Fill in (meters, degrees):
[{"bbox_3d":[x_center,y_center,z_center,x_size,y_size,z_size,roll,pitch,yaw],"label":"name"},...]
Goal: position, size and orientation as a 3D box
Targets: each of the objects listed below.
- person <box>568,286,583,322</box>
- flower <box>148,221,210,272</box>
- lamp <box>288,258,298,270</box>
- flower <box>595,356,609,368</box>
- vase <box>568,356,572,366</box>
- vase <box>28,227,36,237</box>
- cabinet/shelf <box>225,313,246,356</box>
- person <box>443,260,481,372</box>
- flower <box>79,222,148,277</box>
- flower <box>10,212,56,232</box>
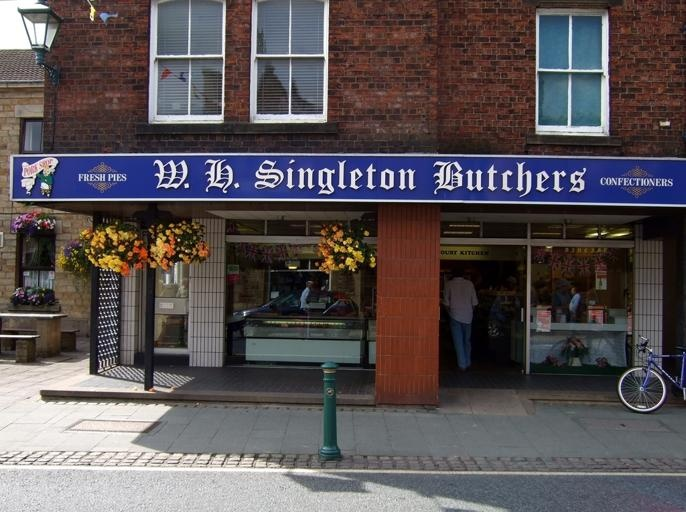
[{"bbox_3d":[4.813,1.015,16.088,0.299,0.707,0.192,3,14,7],"label":"person"},{"bbox_3d":[-2.887,-0.142,14.130,1.054,0.543,0.950,-15,-6,-22],"label":"flower"},{"bbox_3d":[-1.061,0.170,16.203,0.263,0.226,0.131,2,5,4],"label":"lamp"},{"bbox_3d":[5.307,2.204,15.923,0.282,0.174,0.197,0,-6,6],"label":"flower"},{"bbox_3d":[4.667,2.199,15.951,0.091,0.157,0.065,5,14,15],"label":"vase"},{"bbox_3d":[-8.571,-0.677,21.307,0.242,0.291,0.345,-8,16,-31],"label":"vase"},{"bbox_3d":[-2.264,1.681,16.403,0.089,0.809,0.326,8,-15,6],"label":"cabinet/shelf"},{"bbox_3d":[2.451,1.491,16.319,0.659,1.960,0.822,1,14,0],"label":"person"},{"bbox_3d":[-4.016,-0.024,13.834,0.791,0.502,0.701,7,5,-26],"label":"flower"},{"bbox_3d":[-8.539,-0.916,21.279,0.810,0.445,0.715,1,2,-25],"label":"flower"}]
